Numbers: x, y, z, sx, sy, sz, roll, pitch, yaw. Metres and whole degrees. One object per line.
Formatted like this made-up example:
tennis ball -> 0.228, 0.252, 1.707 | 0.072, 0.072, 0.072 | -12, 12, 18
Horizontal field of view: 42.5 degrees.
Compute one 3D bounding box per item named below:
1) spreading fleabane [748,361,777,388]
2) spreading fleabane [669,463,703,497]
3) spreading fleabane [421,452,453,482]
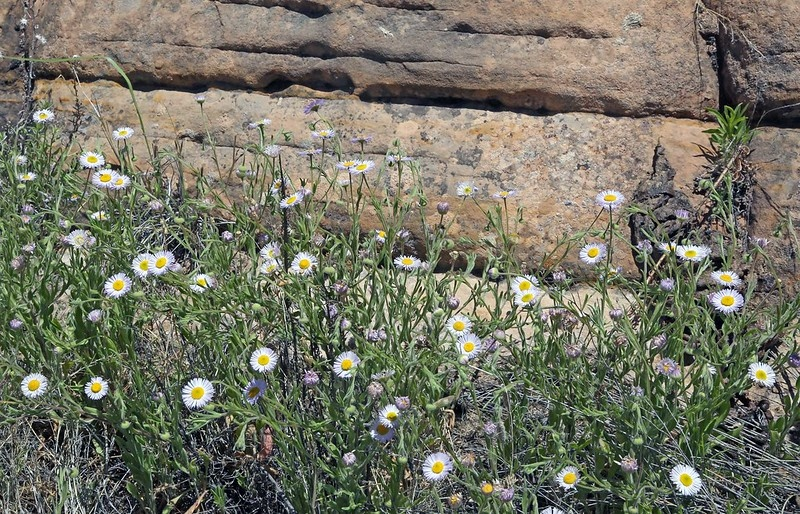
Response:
spreading fleabane -> 1.863, 0.610, 5.298 | 0.120, 0.050, 0.128 | 37, 68, 16
spreading fleabane -> 1.459, 1.164, 5.237 | 0.190, 0.160, 0.146 | 0, 50, -9
spreading fleabane -> 0.181, 1.066, 5.173 | 0.123, 0.055, 0.150 | -24, 43, 11
